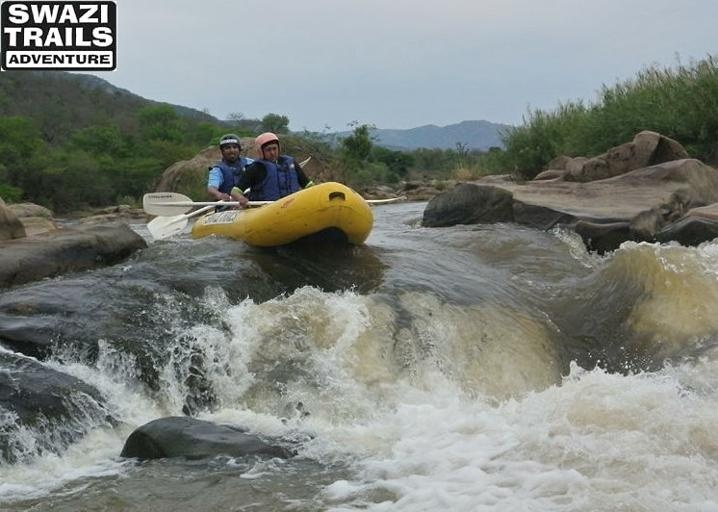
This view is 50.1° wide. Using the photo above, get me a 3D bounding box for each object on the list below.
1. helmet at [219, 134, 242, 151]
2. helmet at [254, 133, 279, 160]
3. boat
[{"bbox_3d":[-2.311,-2.005,13.636,0.260,0.253,0.322,-8,13,-2],"label":"helmet"},{"bbox_3d":[-1.489,-1.769,12.362,0.351,0.414,0.358,-1,5,-8],"label":"helmet"},{"bbox_3d":[-1.137,-0.600,11.299,2.415,0.919,0.935,3,6,28],"label":"boat"}]
